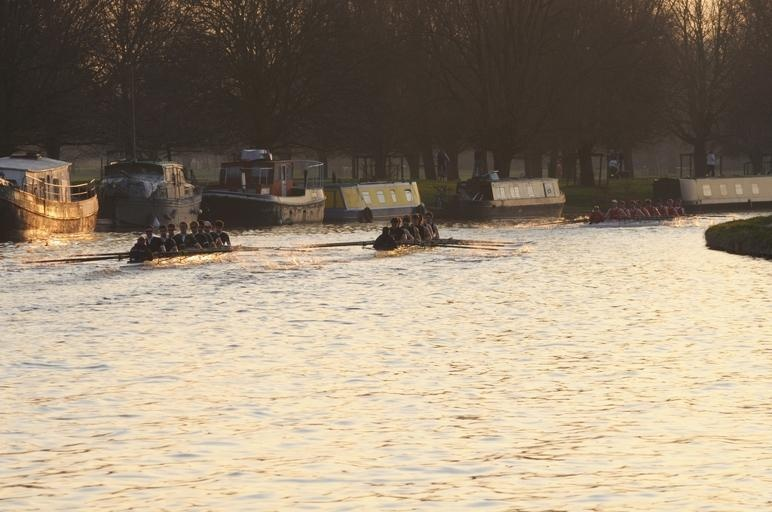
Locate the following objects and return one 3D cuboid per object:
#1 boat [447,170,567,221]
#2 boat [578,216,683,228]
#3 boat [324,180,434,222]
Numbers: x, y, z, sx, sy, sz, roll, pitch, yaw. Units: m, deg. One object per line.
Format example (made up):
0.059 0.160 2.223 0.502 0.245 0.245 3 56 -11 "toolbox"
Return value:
8.091 -3.836 81.171 6.729 2.010 3.650 -6 10 -33 "boat"
15.803 -2.124 77.882 7.684 0.693 2.862 -1 2 -35 "boat"
-0.598 -3.701 81.974 6.693 1.723 2.701 -9 14 -42 "boat"
